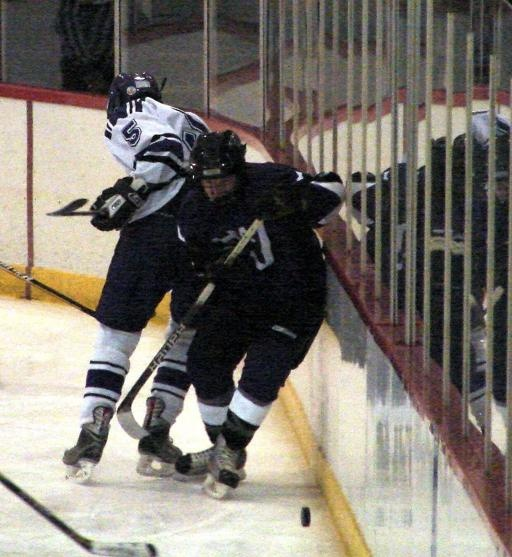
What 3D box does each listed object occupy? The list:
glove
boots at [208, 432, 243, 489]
[{"bbox_3d":[-0.224,-0.117,1.434,0.076,0.113,0.038,37,-38,10],"label":"glove"},{"bbox_3d":[-0.054,0.314,1.460,0.031,0.032,0.085,24,-5,-12],"label":"boots"}]
